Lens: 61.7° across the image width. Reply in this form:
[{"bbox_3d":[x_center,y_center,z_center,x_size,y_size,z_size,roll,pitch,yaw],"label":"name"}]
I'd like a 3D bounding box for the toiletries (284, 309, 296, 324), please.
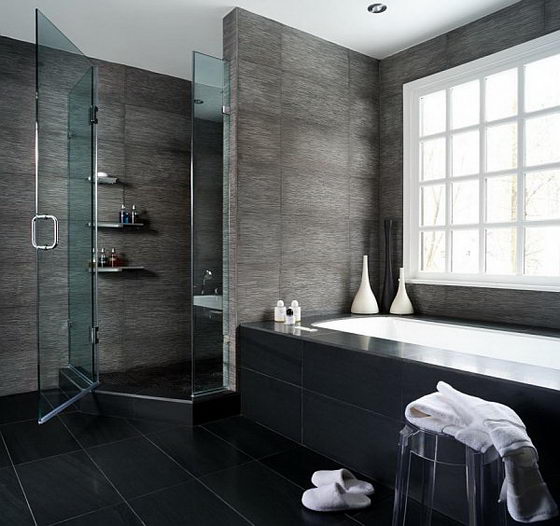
[{"bbox_3d":[0.063,0.334,2.971,0.060,0.099,0.059,0,4,7],"label":"toiletries"}]

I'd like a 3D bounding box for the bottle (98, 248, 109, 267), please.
[{"bbox_3d":[-1.447,-0.050,3.852,0.070,0.154,0.115,-1,4,-15],"label":"bottle"}]

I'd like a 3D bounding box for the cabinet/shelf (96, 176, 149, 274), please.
[{"bbox_3d":[-1.290,-0.335,3.912,0.441,0.853,0.341,-1,4,-19],"label":"cabinet/shelf"}]

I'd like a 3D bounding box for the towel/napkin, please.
[{"bbox_3d":[0.649,0.604,1.552,0.204,0.356,0.427,-4,5,-42],"label":"towel/napkin"}]

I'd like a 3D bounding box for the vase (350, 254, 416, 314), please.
[{"bbox_3d":[0.787,0.163,3.578,0.511,0.409,0.198,0,-4,-3],"label":"vase"}]

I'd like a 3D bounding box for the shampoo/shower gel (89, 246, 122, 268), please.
[{"bbox_3d":[-1.391,-0.040,3.789,0.281,0.183,0.154,-1,2,-21],"label":"shampoo/shower gel"}]

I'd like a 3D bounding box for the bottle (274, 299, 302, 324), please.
[{"bbox_3d":[0.069,0.314,3.064,0.172,0.132,0.148,2,-4,-31],"label":"bottle"}]

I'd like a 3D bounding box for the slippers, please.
[{"bbox_3d":[0.270,0.988,2.089,0.288,0.074,0.349,1,4,17],"label":"slippers"}]
